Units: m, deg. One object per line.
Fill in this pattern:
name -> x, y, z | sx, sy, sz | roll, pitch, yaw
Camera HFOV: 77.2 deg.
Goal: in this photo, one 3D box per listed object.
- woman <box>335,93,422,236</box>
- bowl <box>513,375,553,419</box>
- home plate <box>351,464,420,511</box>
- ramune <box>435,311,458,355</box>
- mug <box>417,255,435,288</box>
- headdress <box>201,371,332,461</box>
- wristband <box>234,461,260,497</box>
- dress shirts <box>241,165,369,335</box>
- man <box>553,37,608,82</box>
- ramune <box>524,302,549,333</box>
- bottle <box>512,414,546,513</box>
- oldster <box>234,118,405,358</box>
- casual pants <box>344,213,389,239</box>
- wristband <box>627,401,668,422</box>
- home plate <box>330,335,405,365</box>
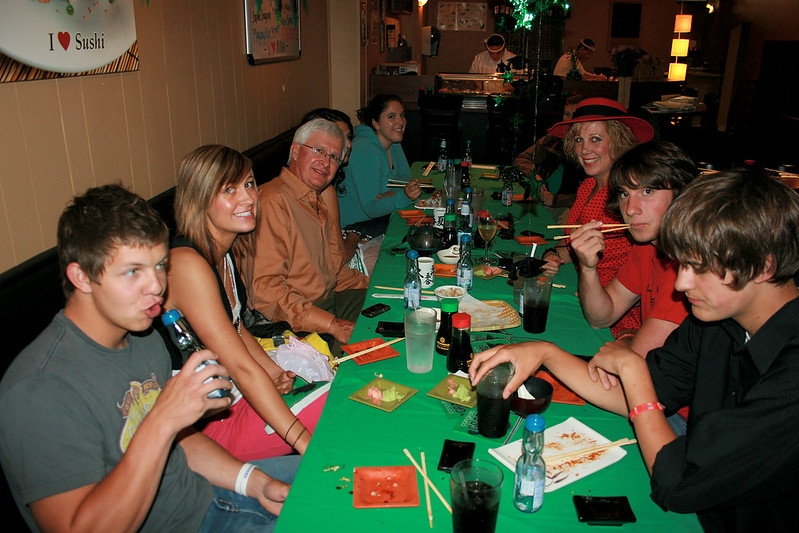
woman -> -0.064, -0.916, 4.508 | 0.926, 1.199, 0.847 | 17, 27, 41
bowl -> 0.478, 0.478, 1.824 | 0.131, 0.076, 0.125 | -1, 32, 1
home plate -> -0.042, 0.679, 1.527 | 0.193, 0.034, 0.130 | -2, 25, -4
ramune -> 0.181, 0.273, 2.115 | 0.089, 0.211, 0.087 | 10, -7, 17
mug -> 0.139, 0.034, 2.620 | 0.095, 0.131, 0.150 | -1, 16, 2
headdress -> -0.533, 0.609, 1.964 | 0.282, 0.488, 0.161 | -38, 34, 2
wristband -> -0.574, 0.795, 1.855 | 0.027, 0.096, 0.093 | 13, 38, -39
dress shirts -> -0.531, -0.123, 3.080 | 0.633, 0.844, 0.922 | 12, 16, 25
man -> 3.258, -3.792, 9.095 | 0.959, 0.654, 0.680 | 11, 29, 17
ramune -> 0.600, 0.239, 2.304 | 0.127, 0.134, 0.125 | 1, 10, 2
bottle -> 0.397, 0.558, 1.491 | 0.093, 0.295, 0.202 | 6, 27, 15
oldster -> -0.425, -0.203, 3.003 | 0.998, 1.259, 0.902 | 5, 17, 6
casual pants -> -0.259, -0.366, 4.237 | 0.269, 0.089, 0.262 | -16, 12, -10
wristband -> 0.825, 0.479, 1.690 | 0.082, 0.023, 0.079 | -20, 5, -1
home plate -> -0.129, 0.359, 2.117 | 0.219, 0.029, 0.128 | -15, 18, -17
